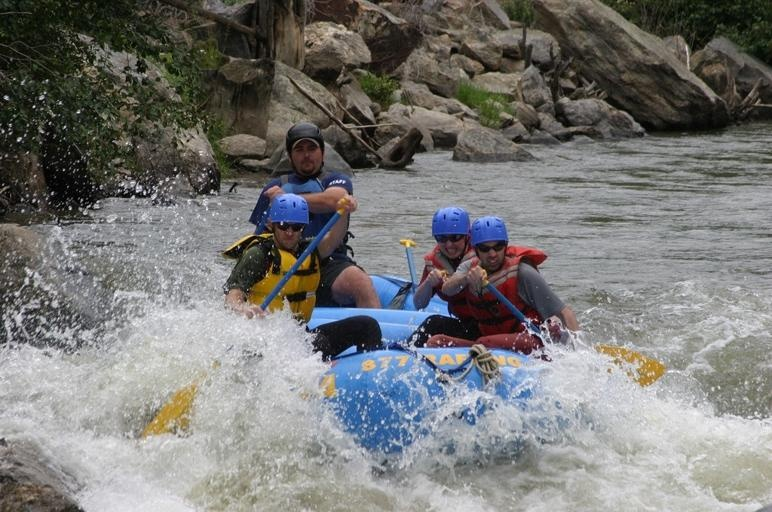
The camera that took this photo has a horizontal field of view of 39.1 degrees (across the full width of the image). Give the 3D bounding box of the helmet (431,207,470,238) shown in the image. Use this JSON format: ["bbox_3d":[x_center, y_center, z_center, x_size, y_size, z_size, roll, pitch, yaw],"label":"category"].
[{"bbox_3d":[0.723,-0.385,11.978,0.276,0.389,0.276,-2,10,4],"label":"helmet"}]

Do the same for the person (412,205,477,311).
[{"bbox_3d":[0.609,-0.059,11.893,0.951,0.713,1.337,-13,6,12],"label":"person"}]

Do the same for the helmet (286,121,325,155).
[{"bbox_3d":[-0.931,-1.361,12.433,0.298,0.420,0.315,-2,-5,-1],"label":"helmet"}]

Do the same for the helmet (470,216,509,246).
[{"bbox_3d":[1.095,-0.269,11.581,0.275,0.334,0.348,-2,33,-1],"label":"helmet"}]

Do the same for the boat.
[{"bbox_3d":[0.341,1.116,12.059,2.270,1.006,3.009,-4,17,-8],"label":"boat"}]

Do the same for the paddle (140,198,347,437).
[{"bbox_3d":[-1.490,0.754,11.688,3.310,0.346,0.165,-53,12,-13],"label":"paddle"}]
